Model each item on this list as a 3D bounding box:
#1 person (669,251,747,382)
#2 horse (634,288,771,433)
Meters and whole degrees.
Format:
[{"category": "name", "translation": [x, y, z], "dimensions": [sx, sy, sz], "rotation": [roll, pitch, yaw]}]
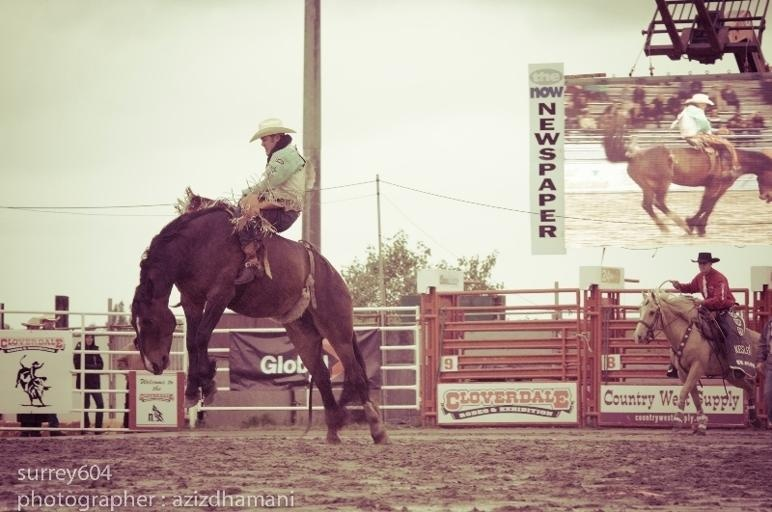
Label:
[{"category": "person", "translation": [7.274, 1.188, 31.565], "dimensions": [1.061, 2.535, 0.778], "rotation": [-4, -5, 17]}, {"category": "horse", "translation": [7.332, 2.389, 32.152], "dimensions": [4.366, 3.183, 1.338], "rotation": [8, -12, -37]}]
